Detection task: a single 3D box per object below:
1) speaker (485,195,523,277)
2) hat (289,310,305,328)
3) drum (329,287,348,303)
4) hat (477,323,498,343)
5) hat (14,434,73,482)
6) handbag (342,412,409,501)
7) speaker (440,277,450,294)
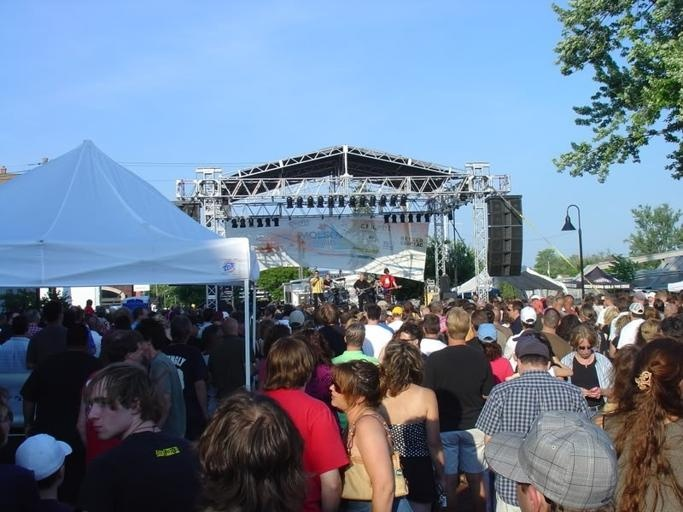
[{"bbox_3d":[3.988,-0.527,21.581,0.827,1.984,0.537,-1,-4,8],"label":"speaker"},{"bbox_3d":[-0.589,0.839,11.707,0.164,0.125,0.237,0,36,3],"label":"hat"},{"bbox_3d":[-0.057,1.173,25.734,0.450,0.353,0.455,-1,2,0],"label":"drum"},{"bbox_3d":[1.659,0.872,10.072,0.224,0.185,0.372,1,8,8],"label":"hat"},{"bbox_3d":[-2.463,1.646,7.263,0.297,0.217,0.399,25,35,14],"label":"hat"},{"bbox_3d":[0.328,1.707,7.876,0.629,1.039,0.755,0,-6,1],"label":"handbag"},{"bbox_3d":[3.115,0.893,26.588,0.402,0.545,0.297,1,-7,2],"label":"speaker"}]
